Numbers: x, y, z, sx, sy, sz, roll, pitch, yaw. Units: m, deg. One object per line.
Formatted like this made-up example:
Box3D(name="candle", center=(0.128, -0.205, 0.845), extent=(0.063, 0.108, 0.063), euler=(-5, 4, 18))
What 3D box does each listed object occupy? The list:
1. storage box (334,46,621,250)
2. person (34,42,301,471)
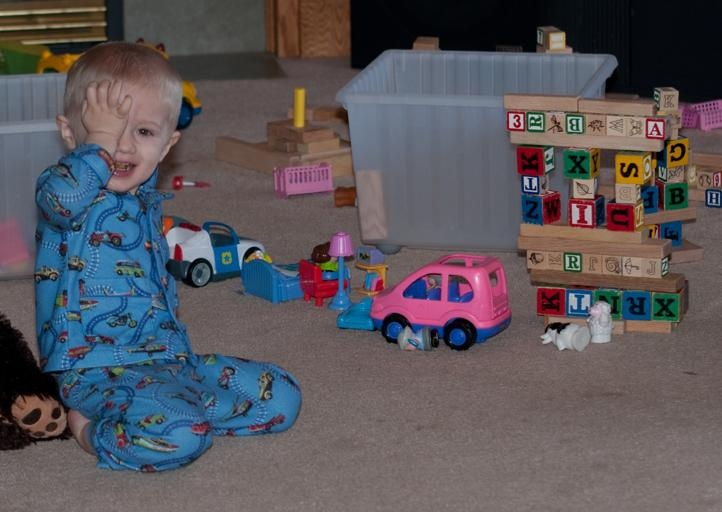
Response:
Box3D(name="storage box", center=(0.367, -0.453, 4.033), extent=(0.833, 0.656, 1.047), euler=(2, 12, 14))
Box3D(name="person", center=(-0.555, -0.003, 2.607), extent=(0.611, 1.030, 0.675), euler=(2, 11, 15))
